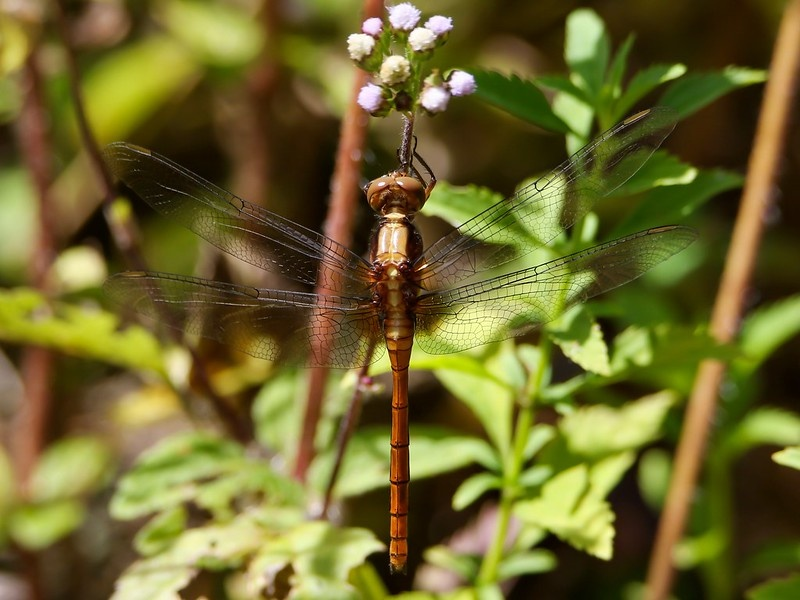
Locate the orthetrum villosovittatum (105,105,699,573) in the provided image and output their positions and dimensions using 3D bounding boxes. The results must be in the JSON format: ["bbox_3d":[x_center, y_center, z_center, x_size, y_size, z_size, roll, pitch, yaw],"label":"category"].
[{"bbox_3d":[-0.038,0.012,2.527,1.567,1.227,0.536,0,20,-10],"label":"orthetrum villosovittatum"}]
